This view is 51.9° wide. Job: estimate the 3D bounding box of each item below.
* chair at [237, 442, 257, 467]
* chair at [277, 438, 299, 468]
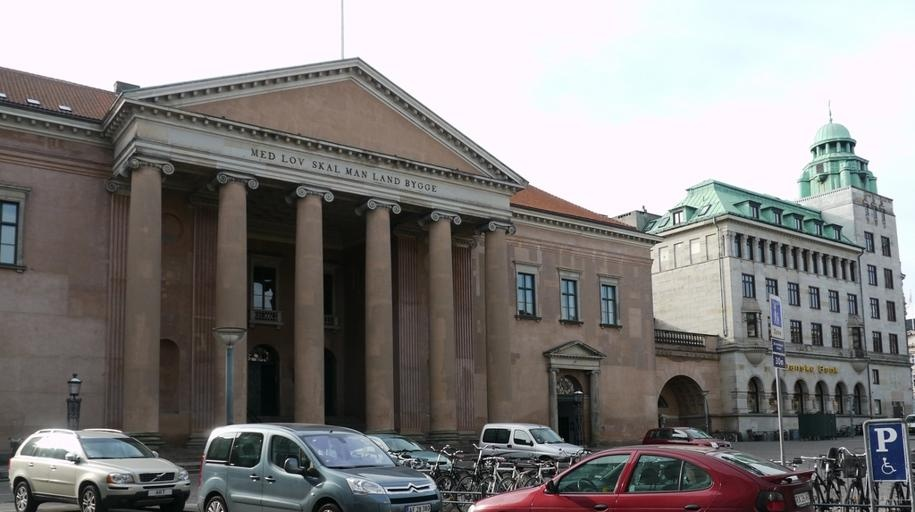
[{"bbox_3d":[-8.117,7.815,36.854,0.925,0.842,0.915,4,-4,-22],"label":"chair"},{"bbox_3d":[-6.500,7.633,36.083,0.936,1.511,0.875,6,-17,-22],"label":"chair"}]
